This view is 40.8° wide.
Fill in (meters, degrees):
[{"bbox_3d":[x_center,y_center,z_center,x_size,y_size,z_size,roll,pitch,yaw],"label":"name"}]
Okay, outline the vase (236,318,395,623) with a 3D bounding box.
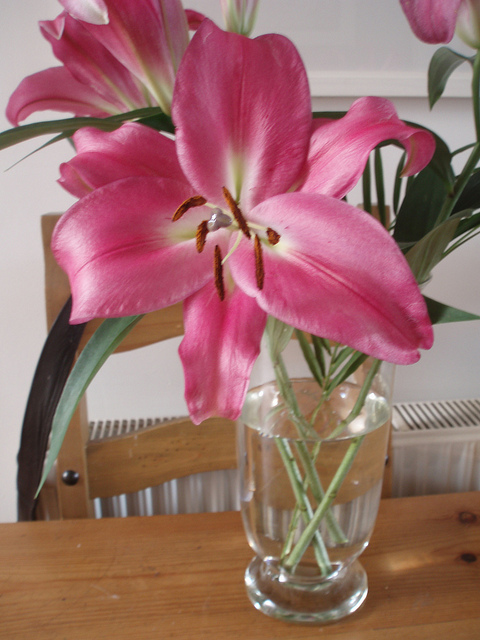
[{"bbox_3d":[0.061,0.115,0.526,0.134,0.225,0.119,5,6,30],"label":"vase"}]
